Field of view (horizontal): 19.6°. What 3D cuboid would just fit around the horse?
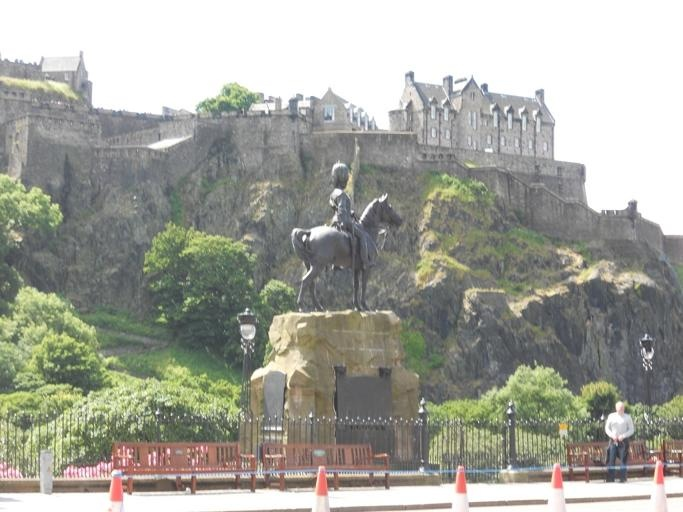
[{"bbox_3d":[0.417,-0.559,128.379,6.705,8.475,2.356,4,5,-16],"label":"horse"}]

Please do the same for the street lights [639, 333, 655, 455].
[{"bbox_3d":[22.463,7.880,142.931,0.747,4.815,0.873,-7,4,-6],"label":"street lights"}]
